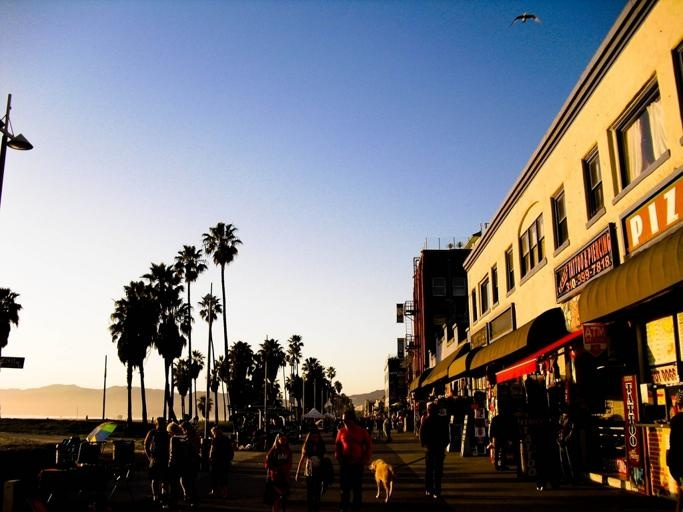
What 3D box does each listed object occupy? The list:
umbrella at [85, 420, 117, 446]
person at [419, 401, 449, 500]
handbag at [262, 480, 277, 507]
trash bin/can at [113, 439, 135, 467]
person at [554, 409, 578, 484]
[{"bbox_3d":[-7.332,5.476,17.722,0.770,0.735,1.376,8,-24,-20],"label":"umbrella"},{"bbox_3d":[2.409,5.086,14.947,0.666,2.305,1.391,-3,-20,10],"label":"person"},{"bbox_3d":[-1.521,5.075,12.266,0.231,0.488,0.371,3,-21,-9],"label":"handbag"},{"bbox_3d":[-6.120,5.576,16.232,0.559,0.669,1.379,8,-24,-20],"label":"trash bin/can"},{"bbox_3d":[6.101,5.149,15.605,0.526,1.884,1.311,-7,-22,21],"label":"person"}]
